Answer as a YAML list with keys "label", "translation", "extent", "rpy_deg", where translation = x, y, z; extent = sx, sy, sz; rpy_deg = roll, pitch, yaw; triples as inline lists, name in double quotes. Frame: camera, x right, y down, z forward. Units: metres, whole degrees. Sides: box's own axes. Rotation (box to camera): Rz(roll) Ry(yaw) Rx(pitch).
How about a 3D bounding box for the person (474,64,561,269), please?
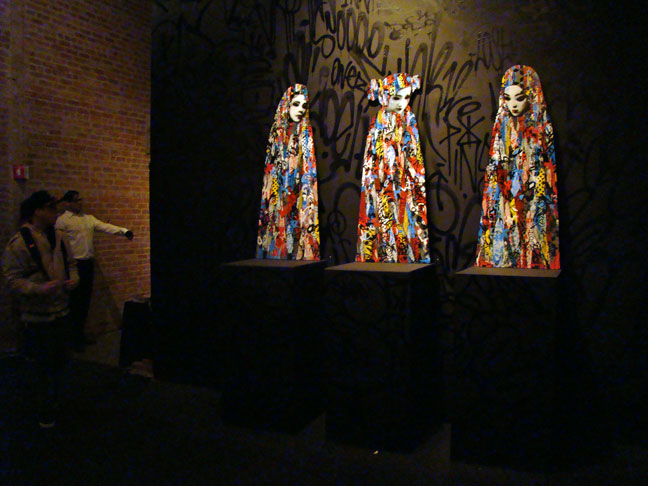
- label: "person"
  translation: [1.213, -0.466, 3.196]
  extent: [0.478, 1.216, 0.288]
  rpy_deg: [3, 11, 18]

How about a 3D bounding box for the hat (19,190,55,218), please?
- label: "hat"
  translation: [-2.118, -0.276, 3.849]
  extent: [0.217, 0.207, 0.201]
  rpy_deg: [-7, 13, -27]

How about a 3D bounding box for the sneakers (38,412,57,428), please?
- label: "sneakers"
  translation: [-1.892, 1.229, 3.556]
  extent: [0.101, 0.038, 0.174]
  rpy_deg: [-7, 14, -28]

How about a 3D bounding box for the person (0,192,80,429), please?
- label: "person"
  translation: [-2.091, 0.393, 3.893]
  extent: [0.465, 1.533, 1.179]
  rpy_deg: [-6, 12, -26]

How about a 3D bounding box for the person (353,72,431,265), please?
- label: "person"
  translation: [0.457, -0.494, 3.454]
  extent: [0.471, 1.224, 0.322]
  rpy_deg: [0, 10, 4]

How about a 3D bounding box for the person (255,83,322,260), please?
- label: "person"
  translation: [-0.255, -0.495, 3.680]
  extent: [0.464, 1.219, 0.336]
  rpy_deg: [1, 10, 8]
